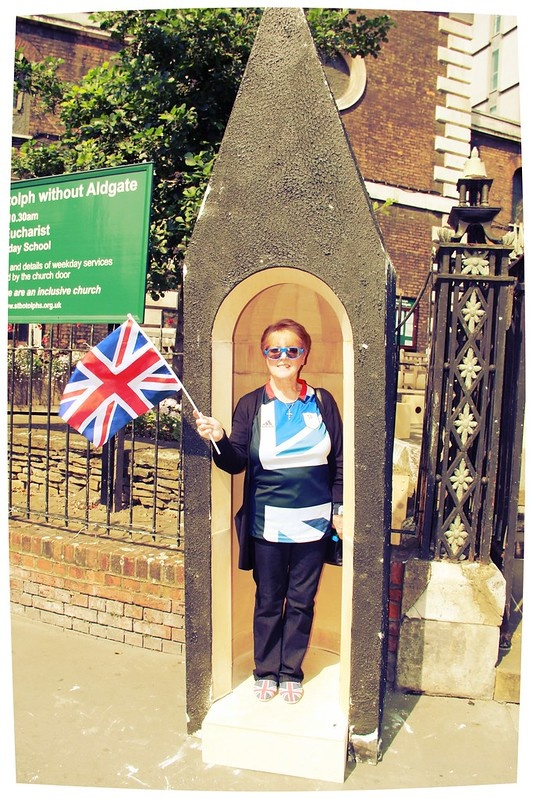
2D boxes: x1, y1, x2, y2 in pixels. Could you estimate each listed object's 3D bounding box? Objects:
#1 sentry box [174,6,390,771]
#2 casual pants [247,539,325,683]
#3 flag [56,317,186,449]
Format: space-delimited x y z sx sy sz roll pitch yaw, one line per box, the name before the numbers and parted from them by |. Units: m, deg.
sentry box | 0.103 -0.079 5.392 1.165 3.991 0.829 3 4 3
casual pants | 0.109 1.141 5.456 0.349 0.234 0.992 2 33 3
flag | -0.812 -0.096 5.426 0.554 0.750 0.199 48 7 3
